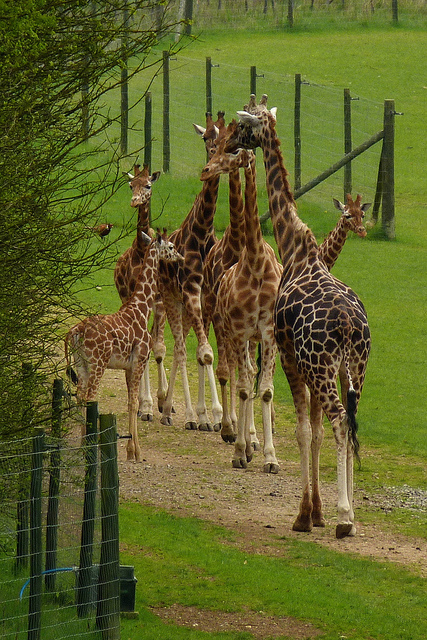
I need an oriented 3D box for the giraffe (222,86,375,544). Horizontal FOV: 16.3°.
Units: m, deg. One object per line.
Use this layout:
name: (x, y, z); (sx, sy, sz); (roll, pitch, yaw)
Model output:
giraffe: (0.856, -0.040, 13.083); (0.742, 3.618, 2.222); (-2, 5, -8)
